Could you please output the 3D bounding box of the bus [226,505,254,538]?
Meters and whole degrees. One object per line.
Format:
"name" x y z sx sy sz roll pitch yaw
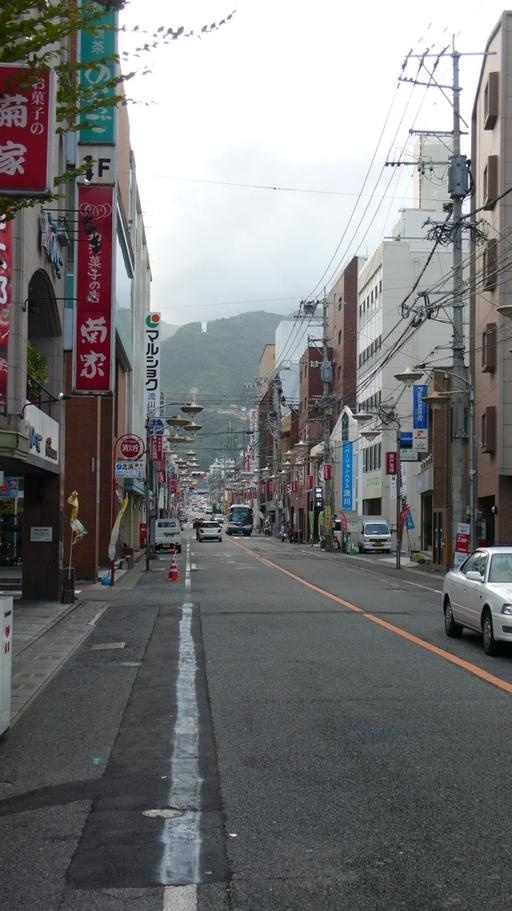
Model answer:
"bus" -1.965 7.519 100.673 1.958 3.456 3.313 1 -4 -38

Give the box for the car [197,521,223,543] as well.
"car" -3.856 6.404 73.581 1.936 1.746 2.775 0 -4 -8

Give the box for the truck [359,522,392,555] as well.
"truck" 7.838 5.257 56.536 1.106 1.761 2.685 0 -10 -2
